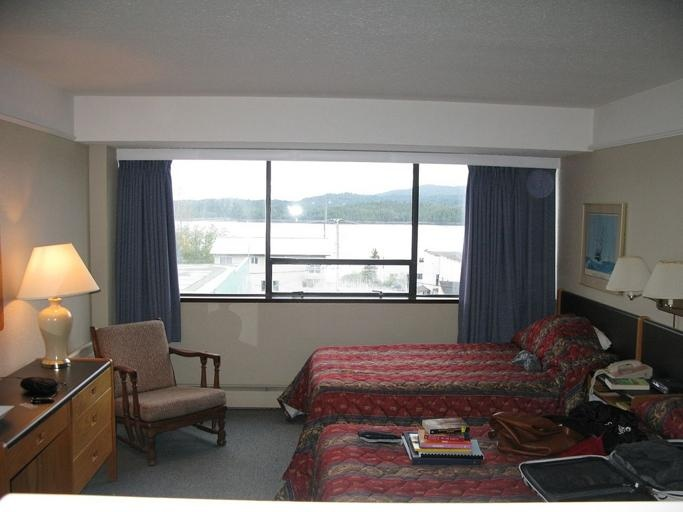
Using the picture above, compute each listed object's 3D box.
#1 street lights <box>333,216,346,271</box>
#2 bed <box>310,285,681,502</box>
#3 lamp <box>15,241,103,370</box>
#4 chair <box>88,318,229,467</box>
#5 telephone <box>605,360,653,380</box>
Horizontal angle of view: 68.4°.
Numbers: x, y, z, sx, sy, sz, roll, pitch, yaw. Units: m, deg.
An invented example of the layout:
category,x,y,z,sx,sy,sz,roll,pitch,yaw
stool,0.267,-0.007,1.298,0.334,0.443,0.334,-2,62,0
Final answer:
category,x,y,z,sx,sy,sz,roll,pitch,yaw
street lights,-0.042,-0.174,6.310,0.119,0.592,0.059,2,8,-4
bed,0.802,1.314,3.679,1.911,1.029,1.683,-1,7,-1
lamp,-2.471,0.414,4.355,0.533,1.006,0.431,3,8,5
chair,-1.888,1.310,5.137,1.414,1.072,1.154,3,2,18
telephone,2.566,1.015,4.505,0.277,0.092,0.199,1,0,-6
